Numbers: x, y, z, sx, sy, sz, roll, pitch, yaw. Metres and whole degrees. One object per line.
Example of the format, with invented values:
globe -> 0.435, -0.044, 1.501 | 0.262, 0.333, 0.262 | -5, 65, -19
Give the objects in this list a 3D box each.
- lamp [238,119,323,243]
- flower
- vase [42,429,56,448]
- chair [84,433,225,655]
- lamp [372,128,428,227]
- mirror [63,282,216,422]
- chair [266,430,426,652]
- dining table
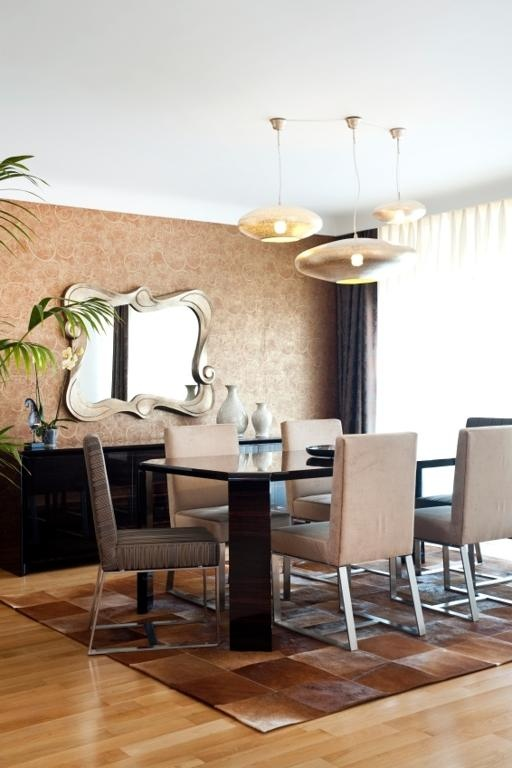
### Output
lamp -> 0.098, -0.891, 2.827 | 0.347, 0.461, 0.326 | 2, 19, 10
flower -> -1.324, 0.075, 4.295 | 0.395, 0.696, 0.292 | 4, 6, -26
vase -> -1.308, 0.347, 4.216 | 0.107, 0.117, 0.111 | -5, -7, 45
chair -> -0.418, 0.635, 2.674 | 0.548, 0.790, 0.482 | 1, -4, -18
lamp -> 0.671, -0.998, 3.135 | 0.254, 0.410, 0.237 | -6, 24, -1
mirror -> -0.862, -0.224, 4.935 | 1.338, 1.024, 0.090 | -1, 4, -44
chair -> 0.354, 0.606, 2.647 | 0.487, 0.776, 0.519 | 1, -4, -29
dining table -> -0.135, 0.641, 3.068 | 0.903, 0.698, 1.003 | 1, 5, 32
